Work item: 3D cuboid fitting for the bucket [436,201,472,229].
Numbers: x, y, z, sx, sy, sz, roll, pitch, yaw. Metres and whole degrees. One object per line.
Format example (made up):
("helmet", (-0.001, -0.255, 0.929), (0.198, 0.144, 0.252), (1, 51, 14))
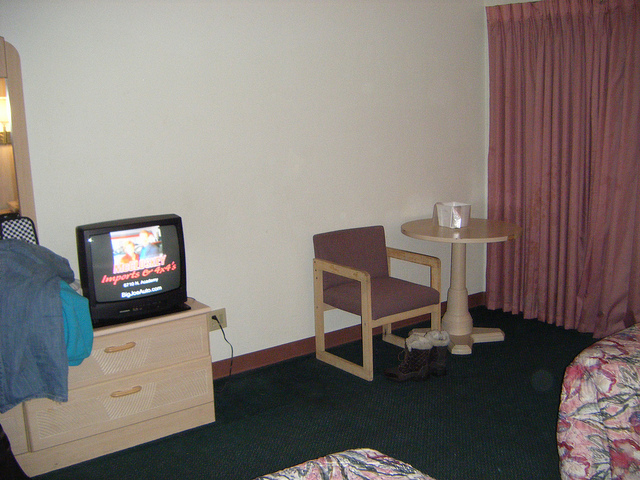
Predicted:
("bucket", (0.992, -0.184, 4.027), (0.265, 0.173, 0.187), (-9, 13, -16))

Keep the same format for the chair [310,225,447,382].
("chair", (0.471, 0.369, 3.933), (1.031, 0.930, 0.673), (-12, 14, -30))

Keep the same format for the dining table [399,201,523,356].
("dining table", (1.014, 0.295, 4.111), (0.785, 0.854, 0.789), (4, 9, 15))

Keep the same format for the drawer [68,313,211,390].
("drawer", (-1.084, 0.569, 3.122), (0.887, 0.328, 0.319), (-10, 20, -18))

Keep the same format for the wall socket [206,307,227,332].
("wall socket", (-0.672, 0.512, 3.572), (0.178, 0.184, 0.024), (-10, 13, -43))
